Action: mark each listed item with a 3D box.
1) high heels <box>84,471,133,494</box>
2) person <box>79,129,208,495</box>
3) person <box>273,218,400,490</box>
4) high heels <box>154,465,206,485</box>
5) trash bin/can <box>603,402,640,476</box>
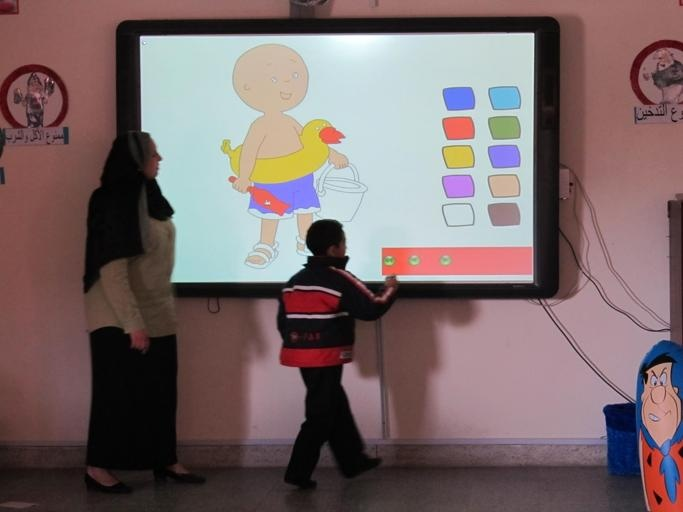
[{"bbox_3d":[-1.261,1.258,4.251,0.307,0.146,0.108,1,-5,0],"label":"high heels"},{"bbox_3d":[-1.162,0.252,4.168,0.517,1.786,0.452,-3,12,-7],"label":"person"},{"bbox_3d":[-0.041,0.537,4.230,0.606,1.434,0.337,-3,12,-5],"label":"person"},{"bbox_3d":[-0.909,1.229,4.366,0.311,0.136,0.110,-2,-5,6],"label":"high heels"},{"bbox_3d":[1.586,1.044,4.355,0.167,0.369,0.138,-2,12,-1],"label":"trash bin/can"}]
